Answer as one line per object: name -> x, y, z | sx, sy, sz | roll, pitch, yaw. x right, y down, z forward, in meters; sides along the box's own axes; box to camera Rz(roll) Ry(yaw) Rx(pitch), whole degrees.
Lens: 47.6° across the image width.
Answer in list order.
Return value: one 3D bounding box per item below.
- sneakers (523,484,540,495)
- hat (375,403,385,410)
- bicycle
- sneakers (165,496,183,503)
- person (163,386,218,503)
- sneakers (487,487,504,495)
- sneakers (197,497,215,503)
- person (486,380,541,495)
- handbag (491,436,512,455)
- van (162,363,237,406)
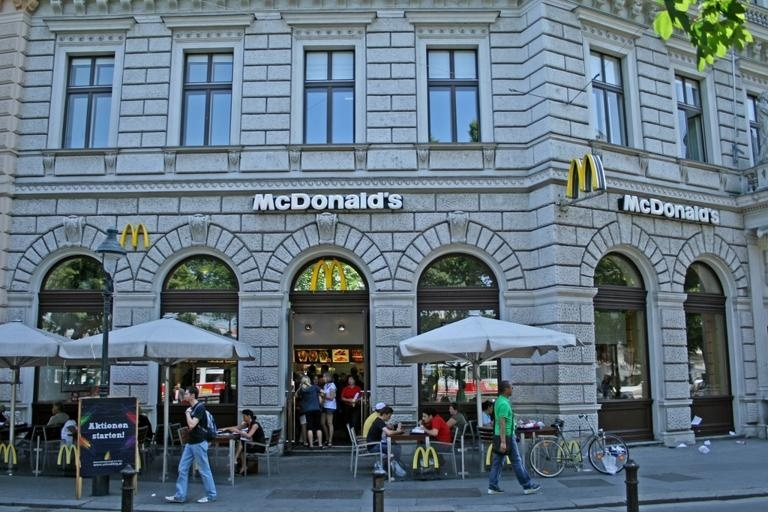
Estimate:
sneakers -> 3.691, 5.867, 21.861 | 0.463, 0.204, 0.178 | -8, -1, -17
hat -> -0.124, 4.250, 24.403 | 0.300, 0.131, 0.413 | -14, -9, -14
bicycle -> 5.318, 5.300, 23.886 | 2.770, 1.487, 1.133 | -11, -18, 25
sneakers -> -5.169, 6.009, 21.475 | 0.474, 0.178, 0.165 | 2, -5, 5
person -> -4.769, 4.750, 21.897 | 1.126, 2.857, 1.280 | 2, -14, -13
sneakers -> 2.796, 5.927, 21.896 | 0.392, 0.148, 0.140 | 1, -4, -22
sneakers -> -4.377, 6.046, 21.478 | 0.452, 0.174, 0.149 | 5, -19, 1
person -> 3.277, 4.642, 22.088 | 1.401, 2.711, 1.178 | -2, -7, 19
handbag -> 2.966, 4.782, 21.777 | 0.478, 0.438, 0.281 | -2, -14, 6
van -> -5.923, 3.993, 27.044 | 2.820, 1.295, 0.997 | 0, -12, 2
